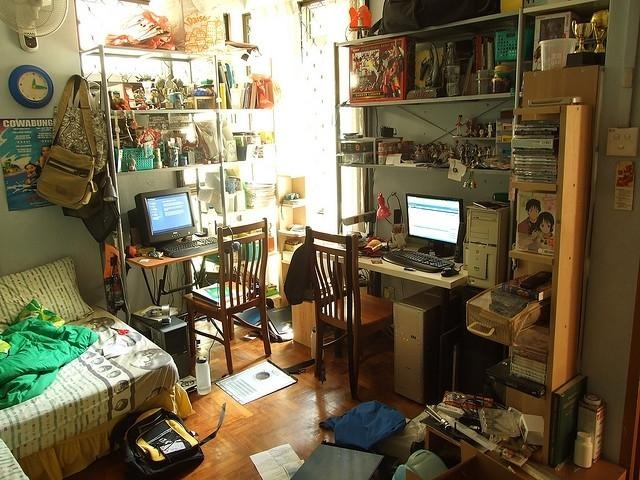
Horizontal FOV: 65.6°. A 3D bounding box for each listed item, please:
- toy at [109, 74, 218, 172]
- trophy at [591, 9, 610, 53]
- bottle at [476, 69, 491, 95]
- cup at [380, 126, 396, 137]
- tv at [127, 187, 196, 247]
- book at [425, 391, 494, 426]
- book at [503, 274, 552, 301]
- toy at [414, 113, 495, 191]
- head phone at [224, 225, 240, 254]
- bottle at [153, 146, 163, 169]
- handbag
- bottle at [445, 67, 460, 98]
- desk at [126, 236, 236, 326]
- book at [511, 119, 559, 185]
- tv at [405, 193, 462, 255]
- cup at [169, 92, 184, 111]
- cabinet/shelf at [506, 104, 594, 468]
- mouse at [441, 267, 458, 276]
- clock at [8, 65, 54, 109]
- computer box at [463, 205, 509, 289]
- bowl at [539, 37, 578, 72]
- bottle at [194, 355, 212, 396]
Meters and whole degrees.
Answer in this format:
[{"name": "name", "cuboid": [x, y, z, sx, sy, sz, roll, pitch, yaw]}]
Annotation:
[{"name": "toy", "cuboid": [-1.370, -1.009, 4.282, 0.805, 0.740, 0.289, -13, 18, -41]}, {"name": "trophy", "cuboid": [1.505, -1.132, 2.696, 0.077, 0.233, 0.332, 5, 17, 27]}, {"name": "bottle", "cuboid": [1.120, -1.075, 3.390, 0.097, 0.159, 0.078, 1, 15, 15]}, {"name": "cup", "cuboid": [0.564, -0.906, 4.173, 0.128, 0.104, 0.077, -3, 9, -6]}, {"name": "tv", "cuboid": [-1.422, -0.195, 4.395, 0.239, 0.441, 0.451, -1, 10, 41]}, {"name": "book", "cuboid": [0.812, 0.946, 2.832, 0.167, 0.059, 0.170, 12, 17, 32]}, {"name": "book", "cuboid": [1.124, 0.242, 2.631, 0.159, 0.057, 0.170, -18, 17, -21]}, {"name": "toy", "cuboid": [1.009, -0.714, 3.738, 0.724, 0.422, 0.468, 10, 19, 39]}, {"name": "head phone", "cuboid": [-0.703, -0.004, 3.948, 0.079, 0.197, 0.193, -14, 15, 5]}, {"name": "bottle", "cuboid": [-1.390, -0.701, 4.265, 0.059, 0.164, 0.215, -6, 15, -13]}, {"name": "handbag", "cuboid": [-1.859, -0.597, 3.836, 0.570, 1.285, 0.283, -3, 15, 1]}, {"name": "bottle", "cuboid": [0.955, -1.145, 3.568, 0.097, 0.215, 0.084, 1, 15, 14]}, {"name": "desk", "cuboid": [-1.288, 0.268, 4.484, 0.560, 0.627, 1.068, 9, 17, 35]}, {"name": "book", "cuboid": [1.097, -0.445, 2.524, 0.246, 0.315, 0.148, 10, 19, 39]}, {"name": "tv", "cuboid": [0.909, -0.132, 3.933, 0.405, 0.381, 0.175, 9, 16, 40]}, {"name": "cup", "cuboid": [-1.238, -1.194, 4.287, 0.134, 0.166, 0.140, 1, 17, 0]}, {"name": "cabinet/shelf", "cuboid": [1.163, 0.209, 2.600, 0.395, 1.790, 0.516, 5, 17, 29]}, {"name": "mouse", "cuboid": [0.902, 0.224, 3.458, 0.124, 0.038, 0.109, -1, 15, 9]}, {"name": "clock", "cuboid": [-2.172, -1.144, 3.713, 0.050, 0.413, 0.350, -1, 0, 38]}, {"name": "computer box", "cuboid": [1.158, 0.039, 3.487, 0.297, 0.578, 0.239, 1, 15, 15]}, {"name": "bowl", "cuboid": [1.249, -0.978, 2.628, 0.167, 0.164, 0.256, 5, 17, 27]}, {"name": "bottle", "cuboid": [-0.883, 1.023, 3.733, 0.100, 0.293, 0.060, -6, 15, -13]}]
